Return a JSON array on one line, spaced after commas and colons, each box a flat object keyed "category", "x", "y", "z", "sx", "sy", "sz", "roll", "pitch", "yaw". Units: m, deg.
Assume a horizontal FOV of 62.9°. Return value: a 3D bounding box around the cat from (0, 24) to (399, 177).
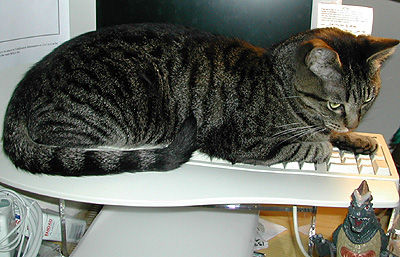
[{"category": "cat", "x": -0.009, "y": -0.004, "z": 1.242, "sx": 1.209, "sy": 0.593, "sz": 0.439, "roll": 4, "pitch": -49, "yaw": 3}]
